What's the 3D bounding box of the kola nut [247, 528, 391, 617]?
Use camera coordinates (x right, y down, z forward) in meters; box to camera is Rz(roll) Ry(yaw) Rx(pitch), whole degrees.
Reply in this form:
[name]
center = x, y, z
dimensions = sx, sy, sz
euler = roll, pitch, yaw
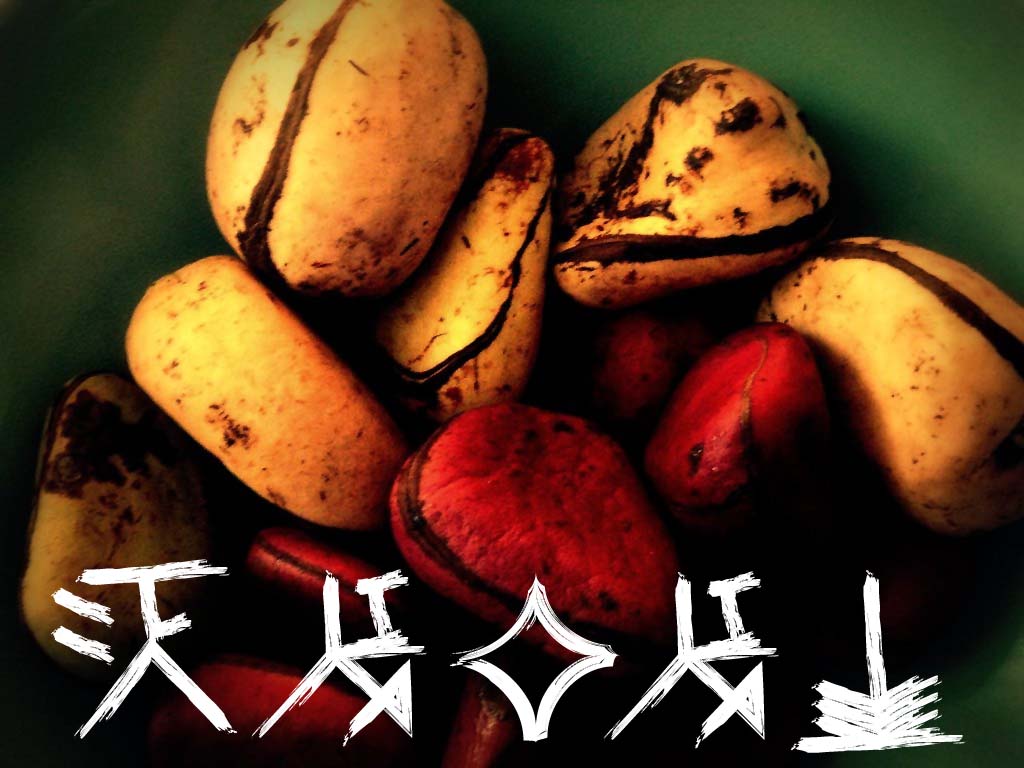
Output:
[kola nut]
center = -0.156, 0.140, 0.962
dimensions = 0.069, 0.070, 0.023
euler = 14, 73, 50
